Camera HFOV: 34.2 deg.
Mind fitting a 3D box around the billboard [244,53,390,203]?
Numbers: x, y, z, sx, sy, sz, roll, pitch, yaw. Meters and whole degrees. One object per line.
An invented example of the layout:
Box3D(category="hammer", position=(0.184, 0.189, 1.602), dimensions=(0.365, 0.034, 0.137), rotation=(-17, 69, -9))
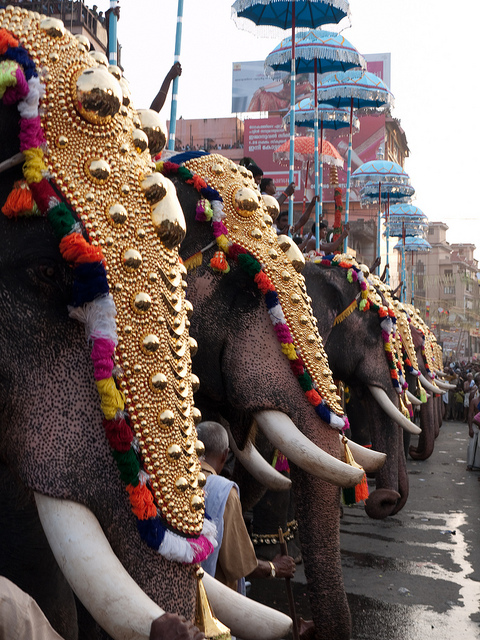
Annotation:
Box3D(category="billboard", position=(3.293, -7.844, 31.206), dimensions=(6.007, 0.095, 6.327), rotation=(0, -41, 11))

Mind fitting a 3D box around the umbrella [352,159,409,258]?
Box3D(category="umbrella", position=(2.328, -1.733, 12.931), dimensions=(0.706, 1.458, 0.717), rotation=(15, -20, -27))
